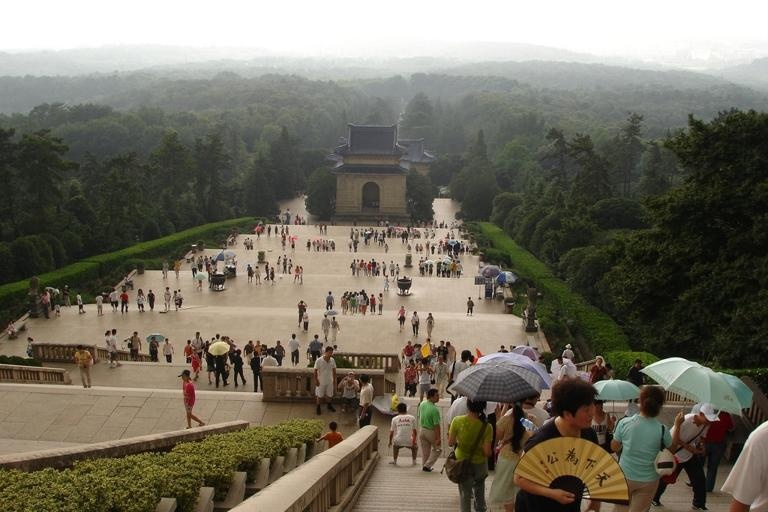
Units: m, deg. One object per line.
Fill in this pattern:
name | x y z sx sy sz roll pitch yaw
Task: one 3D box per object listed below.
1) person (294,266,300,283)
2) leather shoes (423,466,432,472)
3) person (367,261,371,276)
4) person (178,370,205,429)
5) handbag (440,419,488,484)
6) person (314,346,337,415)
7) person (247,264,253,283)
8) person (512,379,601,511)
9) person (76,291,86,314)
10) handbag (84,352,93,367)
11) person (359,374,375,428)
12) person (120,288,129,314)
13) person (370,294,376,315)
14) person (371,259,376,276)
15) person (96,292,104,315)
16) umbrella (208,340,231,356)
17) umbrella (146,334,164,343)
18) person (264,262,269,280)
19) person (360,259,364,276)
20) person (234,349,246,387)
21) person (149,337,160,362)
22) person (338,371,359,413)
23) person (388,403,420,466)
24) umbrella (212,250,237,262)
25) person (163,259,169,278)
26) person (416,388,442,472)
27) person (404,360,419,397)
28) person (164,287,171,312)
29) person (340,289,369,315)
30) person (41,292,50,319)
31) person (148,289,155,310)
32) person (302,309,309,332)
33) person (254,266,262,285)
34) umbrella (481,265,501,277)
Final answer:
person | -5.897 1.273 42.301 0.359 1.086 0.809 -1 12 -11
leather shoes | 0.877 4.271 12.428 0.215 0.082 0.076 1 4 9
person | -1.014 0.977 45.220 0.285 0.858 0.305 2 12 0
person | -4.998 3.579 16.188 0.456 1.387 2.132 -2 12 -19
handbag | 1.346 3.165 10.036 0.626 0.989 0.366 3 12 9
person | -1.531 3.177 16.261 0.562 1.919 0.803 0 12 -6
person | -9.173 1.165 42.769 0.421 1.014 1.474 -1 12 -11
person | 2.268 2.536 7.983 0.948 1.895 1.044 6 12 19
person | -17.035 2.647 34.909 0.359 1.033 1.540 -4 13 -26
handbag | -9.187 3.215 19.294 0.157 0.603 0.585 -2 12 -18
person | -0.425 3.485 14.897 0.289 1.271 0.740 1 12 -2
person | -14.325 2.558 34.269 0.335 1.249 1.297 -4 13 -25
person | -0.626 2.794 35.956 0.288 1.051 0.919 0 12 -6
person | -0.681 0.913 45.414 0.278 0.953 0.693 4 12 11
person | -15.520 2.648 33.939 0.298 1.201 1.547 -4 13 -27
umbrella | -5.697 3.237 21.384 0.591 0.606 0.749 -2 12 -17
umbrella | -9.612 3.471 26.103 0.738 0.230 0.693 -9 -21 9
person | -7.995 1.153 42.749 0.259 0.976 0.672 -1 12 -11
person | -1.540 0.882 45.494 0.351 1.049 0.831 1 11 -2
person | -5.193 3.982 22.296 0.427 1.728 1.587 -1 12 -13
person | -9.219 3.739 24.925 0.251 0.958 0.500 -5 13 -29
person | -0.903 3.529 16.186 0.545 1.103 0.470 3 12 5
person | 0.442 3.801 13.245 0.580 1.377 0.578 2 12 2
umbrella | -11.187 0.104 43.384 1.454 0.832 2.113 -2 12 -18
person | -15.397 0.920 43.762 0.271 1.116 1.286 -3 12 -21
person | 0.928 3.555 12.452 0.430 1.768 0.631 2 12 2
person | 0.879 3.956 19.577 0.481 1.297 0.311 3 14 -6
person | -12.290 2.513 35.298 0.311 1.077 1.583 -2 12 -19
person | -1.679 2.760 36.023 1.227 0.933 1.513 -1 1 -8
person | -18.416 2.656 33.813 0.390 1.308 1.005 -5 13 -29
person | -13.062 2.530 34.862 0.287 1.149 1.310 -3 12 -23
person | -4.033 3.409 31.991 0.321 0.984 1.094 0 11 -6
person | -8.556 1.298 42.089 0.400 1.031 1.440 -1 12 -12
umbrella | 6.706 0.957 38.592 1.013 0.563 0.687 2 11 2
